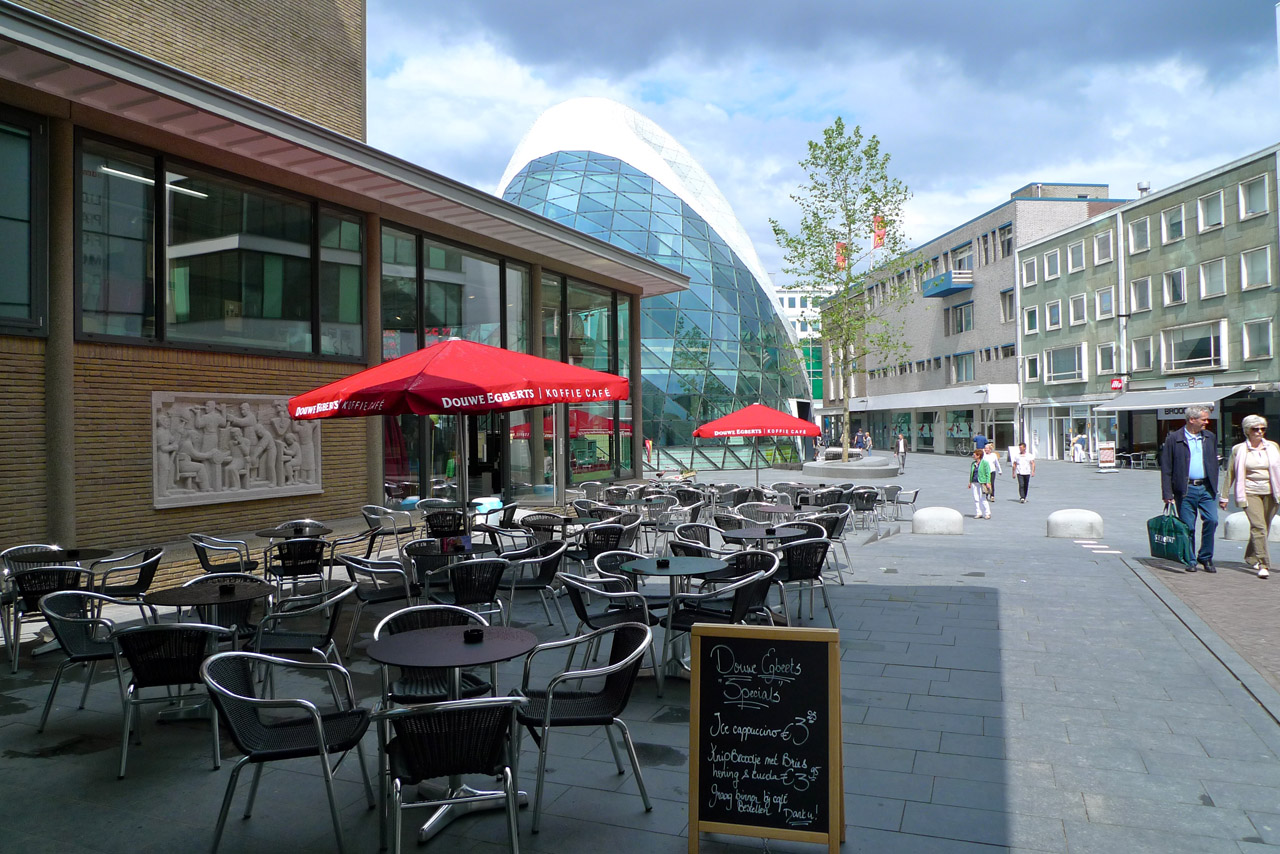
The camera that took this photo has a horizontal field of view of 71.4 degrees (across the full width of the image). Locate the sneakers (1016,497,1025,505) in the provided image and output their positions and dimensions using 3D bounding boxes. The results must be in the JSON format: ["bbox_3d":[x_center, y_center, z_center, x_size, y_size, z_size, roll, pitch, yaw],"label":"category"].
[{"bbox_3d":[10.728,2.035,25.012,0.131,0.138,0.374,-4,-9,12],"label":"sneakers"}]

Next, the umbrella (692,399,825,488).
[{"bbox_3d":[2.638,-0.041,19.863,2.284,1.418,2.218,0,6,6],"label":"umbrella"}]

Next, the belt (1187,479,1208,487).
[{"bbox_3d":[8.270,0.806,13.200,0.286,0.068,0.040,-2,-2,3],"label":"belt"}]

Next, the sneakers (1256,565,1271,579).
[{"bbox_3d":[9.041,2.085,12.960,0.129,0.126,0.341,-3,-6,16],"label":"sneakers"}]

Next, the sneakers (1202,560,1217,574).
[{"bbox_3d":[8.640,2.089,13.464,0.116,0.124,0.307,-2,4,11],"label":"sneakers"}]

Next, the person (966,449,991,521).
[{"bbox_3d":[8.177,1.294,21.298,0.461,1.629,1.325,-2,-2,20],"label":"person"}]

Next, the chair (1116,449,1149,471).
[{"bbox_3d":[23.687,1.621,42.798,0.800,0.553,1.193,-4,3,-34],"label":"chair"}]
